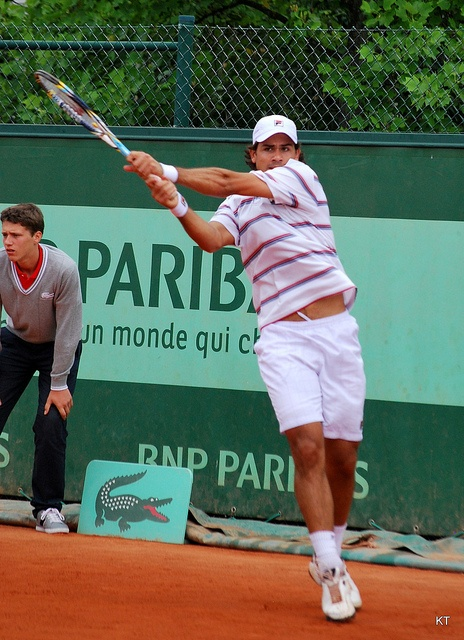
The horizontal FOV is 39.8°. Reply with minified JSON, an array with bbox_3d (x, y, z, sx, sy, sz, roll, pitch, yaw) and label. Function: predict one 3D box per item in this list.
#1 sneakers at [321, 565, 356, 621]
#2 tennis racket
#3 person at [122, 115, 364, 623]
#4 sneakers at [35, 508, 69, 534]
[{"bbox_3d":[0.345,0.904,2.111,0.080,0.229,0.099,-5,-9,4],"label":"sneakers"},{"bbox_3d":[-0.497,-0.699,2.282,0.828,0.046,0.192,44,-12,32],"label":"tennis racket"},{"bbox_3d":[0.126,0.192,2.318,0.716,1.620,0.548,1,-4,4],"label":"person"},{"bbox_3d":[-0.945,1.062,3.394,0.090,0.090,0.209,5,-12,-31],"label":"sneakers"}]
